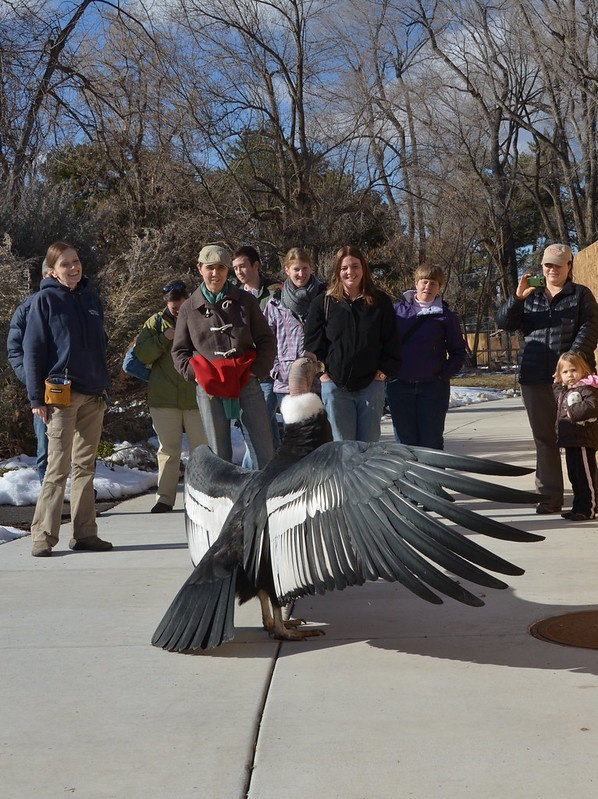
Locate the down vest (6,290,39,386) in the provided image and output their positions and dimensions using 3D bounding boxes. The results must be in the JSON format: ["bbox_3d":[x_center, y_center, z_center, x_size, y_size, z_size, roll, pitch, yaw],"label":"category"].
[{"bbox_3d":[-2.167,-0.477,6.756,0.272,0.705,0.570,4,20,-23],"label":"down vest"}]

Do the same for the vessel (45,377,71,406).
[{"bbox_3d":[-1.538,-0.043,5.582,0.159,0.192,0.123,-3,2,-15],"label":"vessel"}]

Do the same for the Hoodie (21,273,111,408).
[{"bbox_3d":[-1.547,-0.414,5.876,0.641,0.859,0.403,-7,6,-41],"label":"Hoodie"}]

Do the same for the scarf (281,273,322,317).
[{"bbox_3d":[0.002,-0.836,7.159,0.291,0.359,0.182,-13,-33,19],"label":"scarf"}]

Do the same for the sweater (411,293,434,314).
[{"bbox_3d":[0.998,-0.776,7.163,0.130,0.132,0.139,-6,2,-42],"label":"sweater"}]

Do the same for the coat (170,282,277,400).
[{"bbox_3d":[-0.508,-0.452,5.774,0.717,0.626,0.378,-4,9,3],"label":"coat"}]

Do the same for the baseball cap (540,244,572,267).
[{"bbox_3d":[1.917,-1.069,6.468,0.151,0.107,0.234,3,6,30],"label":"baseball cap"}]

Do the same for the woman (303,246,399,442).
[{"bbox_3d":[0.388,-0.176,6.209,0.675,1.733,0.544,0,14,10],"label":"woman"}]

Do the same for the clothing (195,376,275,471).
[{"bbox_3d":[-0.423,0.234,5.909,0.456,0.918,0.269,-1,31,3],"label":"clothing"}]

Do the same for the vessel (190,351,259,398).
[{"bbox_3d":[-0.482,-0.154,5.490,0.419,0.258,0.131,-6,-5,-2],"label":"vessel"}]

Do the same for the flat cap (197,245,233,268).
[{"bbox_3d":[-0.542,-0.934,5.597,0.155,0.098,0.199,2,-1,-11],"label":"flat cap"}]

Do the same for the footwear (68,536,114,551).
[{"bbox_3d":[-1.372,0.955,5.830,0.303,0.118,0.108,0,-2,3],"label":"footwear"}]

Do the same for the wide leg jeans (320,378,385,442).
[{"bbox_3d":[0.396,0.128,6.183,0.434,0.754,0.241,-5,35,5],"label":"wide leg jeans"}]

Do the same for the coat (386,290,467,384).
[{"bbox_3d":[1.007,-0.533,7.177,0.797,0.681,0.447,9,16,26],"label":"coat"}]
